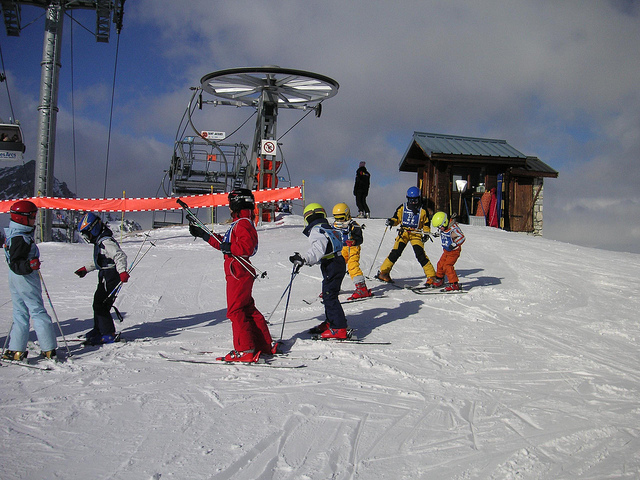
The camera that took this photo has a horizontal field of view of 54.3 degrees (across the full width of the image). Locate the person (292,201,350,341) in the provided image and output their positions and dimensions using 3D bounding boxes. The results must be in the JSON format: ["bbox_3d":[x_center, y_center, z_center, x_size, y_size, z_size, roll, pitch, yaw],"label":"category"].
[{"bbox_3d":[0.073,0.492,9.572,0.748,1.946,0.936,1,10,-7],"label":"person"}]

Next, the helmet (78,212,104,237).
[{"bbox_3d":[-3.417,-0.237,9.419,0.325,0.373,0.274,37,-10,-24],"label":"helmet"}]

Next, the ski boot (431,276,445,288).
[{"bbox_3d":[2.448,0.860,13.005,0.290,0.210,0.117,5,-6,-12],"label":"ski boot"}]

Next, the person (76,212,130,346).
[{"bbox_3d":[-3.262,0.562,9.424,0.699,1.881,1.061,-2,11,-23],"label":"person"}]

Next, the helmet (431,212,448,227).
[{"bbox_3d":[2.466,-0.427,13.015,0.259,0.347,0.264,15,-20,-3],"label":"helmet"}]

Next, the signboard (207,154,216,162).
[{"bbox_3d":[-5.211,-3.944,30.103,0.386,0.333,2.134,0,11,-11],"label":"signboard"}]

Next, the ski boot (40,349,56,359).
[{"bbox_3d":[-3.594,1.497,8.300,0.229,0.105,0.080,-4,-3,39],"label":"ski boot"}]

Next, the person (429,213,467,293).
[{"bbox_3d":[2.618,0.227,12.919,0.679,1.514,0.911,3,10,5],"label":"person"}]

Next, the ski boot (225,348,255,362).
[{"bbox_3d":[-1.056,1.552,8.428,0.437,0.201,0.160,1,-11,9],"label":"ski boot"}]

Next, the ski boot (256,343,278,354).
[{"bbox_3d":[-0.705,1.510,8.708,0.304,0.157,0.079,-6,13,-38],"label":"ski boot"}]

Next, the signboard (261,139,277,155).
[{"bbox_3d":[-2.082,-3.784,25.330,0.602,0.575,0.636,1,11,-5],"label":"signboard"}]

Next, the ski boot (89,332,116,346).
[{"bbox_3d":[-3.180,1.456,9.198,0.373,0.181,0.139,-10,6,-2],"label":"ski boot"}]

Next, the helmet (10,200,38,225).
[{"bbox_3d":[-4.007,-0.371,8.486,0.275,0.306,0.358,11,15,41],"label":"helmet"}]

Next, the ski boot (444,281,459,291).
[{"bbox_3d":[2.654,0.929,12.673,0.269,0.163,0.112,3,10,6],"label":"ski boot"}]

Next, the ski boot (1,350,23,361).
[{"bbox_3d":[-3.968,1.507,8.198,0.314,0.147,0.110,5,-19,1],"label":"ski boot"}]

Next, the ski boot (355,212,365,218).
[{"bbox_3d":[1.475,-0.957,23.083,0.294,0.263,0.646,0,11,-11],"label":"ski boot"}]

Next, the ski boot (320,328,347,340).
[{"bbox_3d":[0.221,1.431,9.536,0.423,0.199,0.155,1,-10,11],"label":"ski boot"}]

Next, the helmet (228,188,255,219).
[{"bbox_3d":[-1.080,-0.504,8.607,0.332,0.383,0.326,1,10,-8],"label":"helmet"}]
